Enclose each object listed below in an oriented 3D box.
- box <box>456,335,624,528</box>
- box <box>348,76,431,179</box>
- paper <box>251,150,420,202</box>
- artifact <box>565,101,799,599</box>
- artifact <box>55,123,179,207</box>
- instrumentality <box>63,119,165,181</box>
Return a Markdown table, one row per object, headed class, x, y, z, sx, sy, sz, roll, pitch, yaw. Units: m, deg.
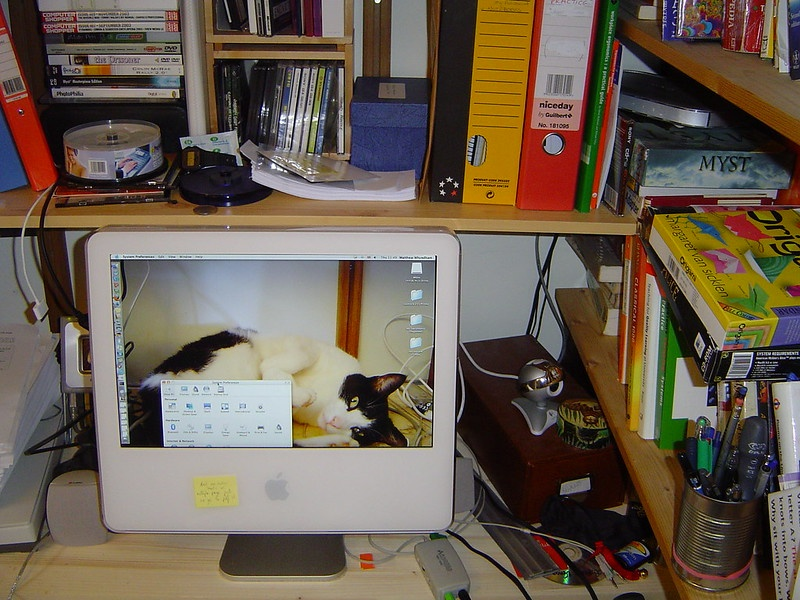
| class | x | y | z | sx | sy | sz | roll | pitch | yaw |
| --- | --- | --- | --- | --- | --- | --- | --- | --- | --- |
| box | 0.336 | 0.268 | 1.513 | 0.216 | 0.199 | 0.422 | -11 | 35 | -5 |
| box | -0.018 | -0.350 | 1.363 | 0.186 | 0.144 | 0.190 | 1 | 32 | 0 |
| paper | -0.124 | -0.222 | 1.260 | 0.237 | 0.058 | 0.143 | 2 | 29 | -5 |
| artifact | 0.414 | 0.079 | 1.178 | 0.161 | 0.705 | 0.744 | -7 | 9 | 14 |
| artifact | -0.555 | -0.306 | 1.256 | 0.188 | 0.075 | 0.194 | 2 | 31 | -4 |
| instrumentality | -0.571 | -0.296 | 1.311 | 0.181 | 0.073 | 0.183 | 15 | 29 | 35 |
